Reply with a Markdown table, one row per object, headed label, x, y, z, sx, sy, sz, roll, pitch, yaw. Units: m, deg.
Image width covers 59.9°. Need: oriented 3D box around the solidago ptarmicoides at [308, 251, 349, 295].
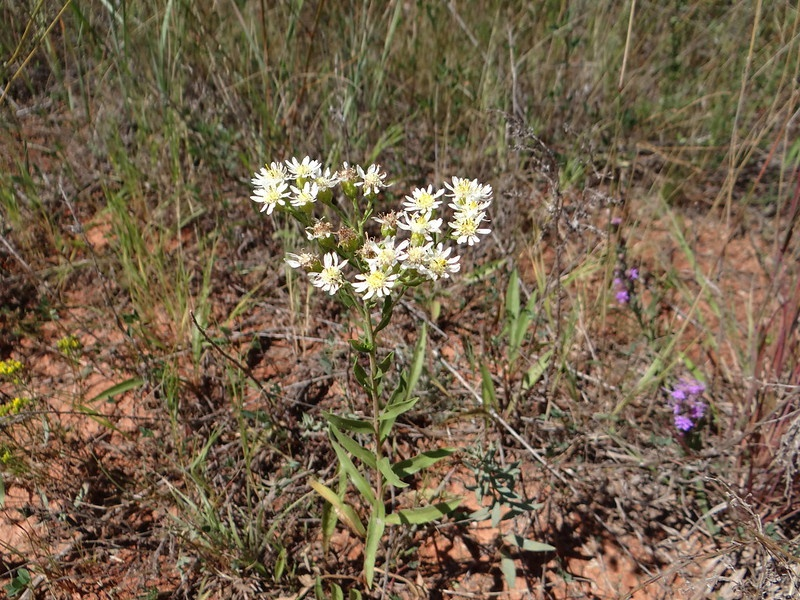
| label | x | y | z | sx | sy | sz | roll | pitch | yaw |
| --- | --- | --- | --- | --- | --- | --- | --- | --- | --- |
| solidago ptarmicoides | -0.314 | -0.073 | 3.085 | 0.091 | 0.205 | 0.173 | 7 | 21 | -49 |
